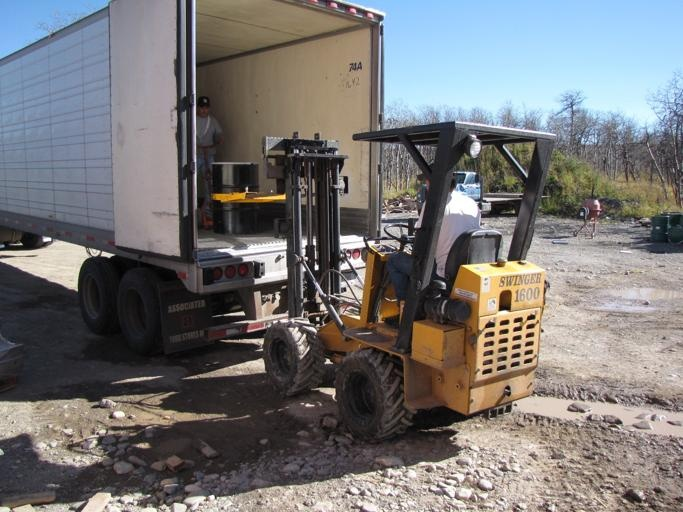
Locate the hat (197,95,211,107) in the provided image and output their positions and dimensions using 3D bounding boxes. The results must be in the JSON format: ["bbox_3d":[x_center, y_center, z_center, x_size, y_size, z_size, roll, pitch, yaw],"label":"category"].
[{"bbox_3d":[-2.403,-2.744,8.808,0.216,0.180,0.317,-2,12,-25],"label":"hat"}]

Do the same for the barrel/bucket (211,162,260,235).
[{"bbox_3d":[-1.610,-0.908,7.683,0.679,1.034,0.693,1,6,0],"label":"barrel/bucket"}]

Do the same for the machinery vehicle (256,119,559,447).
[{"bbox_3d":[0.409,0.108,5.134,1.615,2.614,2.950,-5,8,-39],"label":"machinery vehicle"}]

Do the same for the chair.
[{"bbox_3d":[1.089,0.028,4.077,0.664,0.493,0.223,-5,9,-20],"label":"chair"}]
